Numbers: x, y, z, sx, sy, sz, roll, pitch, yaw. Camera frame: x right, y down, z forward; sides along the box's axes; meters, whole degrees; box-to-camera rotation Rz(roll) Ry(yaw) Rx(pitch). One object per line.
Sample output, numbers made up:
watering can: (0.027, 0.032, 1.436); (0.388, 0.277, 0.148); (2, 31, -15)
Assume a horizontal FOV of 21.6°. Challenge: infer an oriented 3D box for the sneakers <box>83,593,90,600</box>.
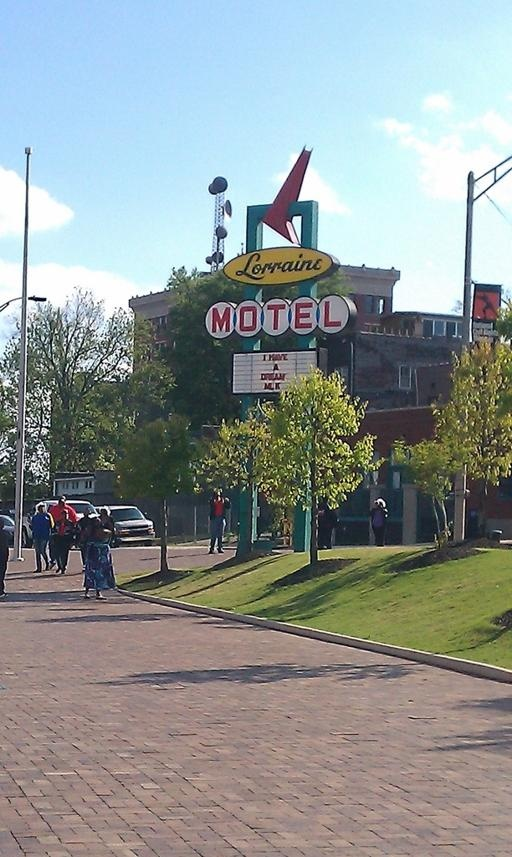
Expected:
sneakers: (-3.116, 3.063, 24.608); (0.084, 0.130, 0.041); (-2, -1, 4)
